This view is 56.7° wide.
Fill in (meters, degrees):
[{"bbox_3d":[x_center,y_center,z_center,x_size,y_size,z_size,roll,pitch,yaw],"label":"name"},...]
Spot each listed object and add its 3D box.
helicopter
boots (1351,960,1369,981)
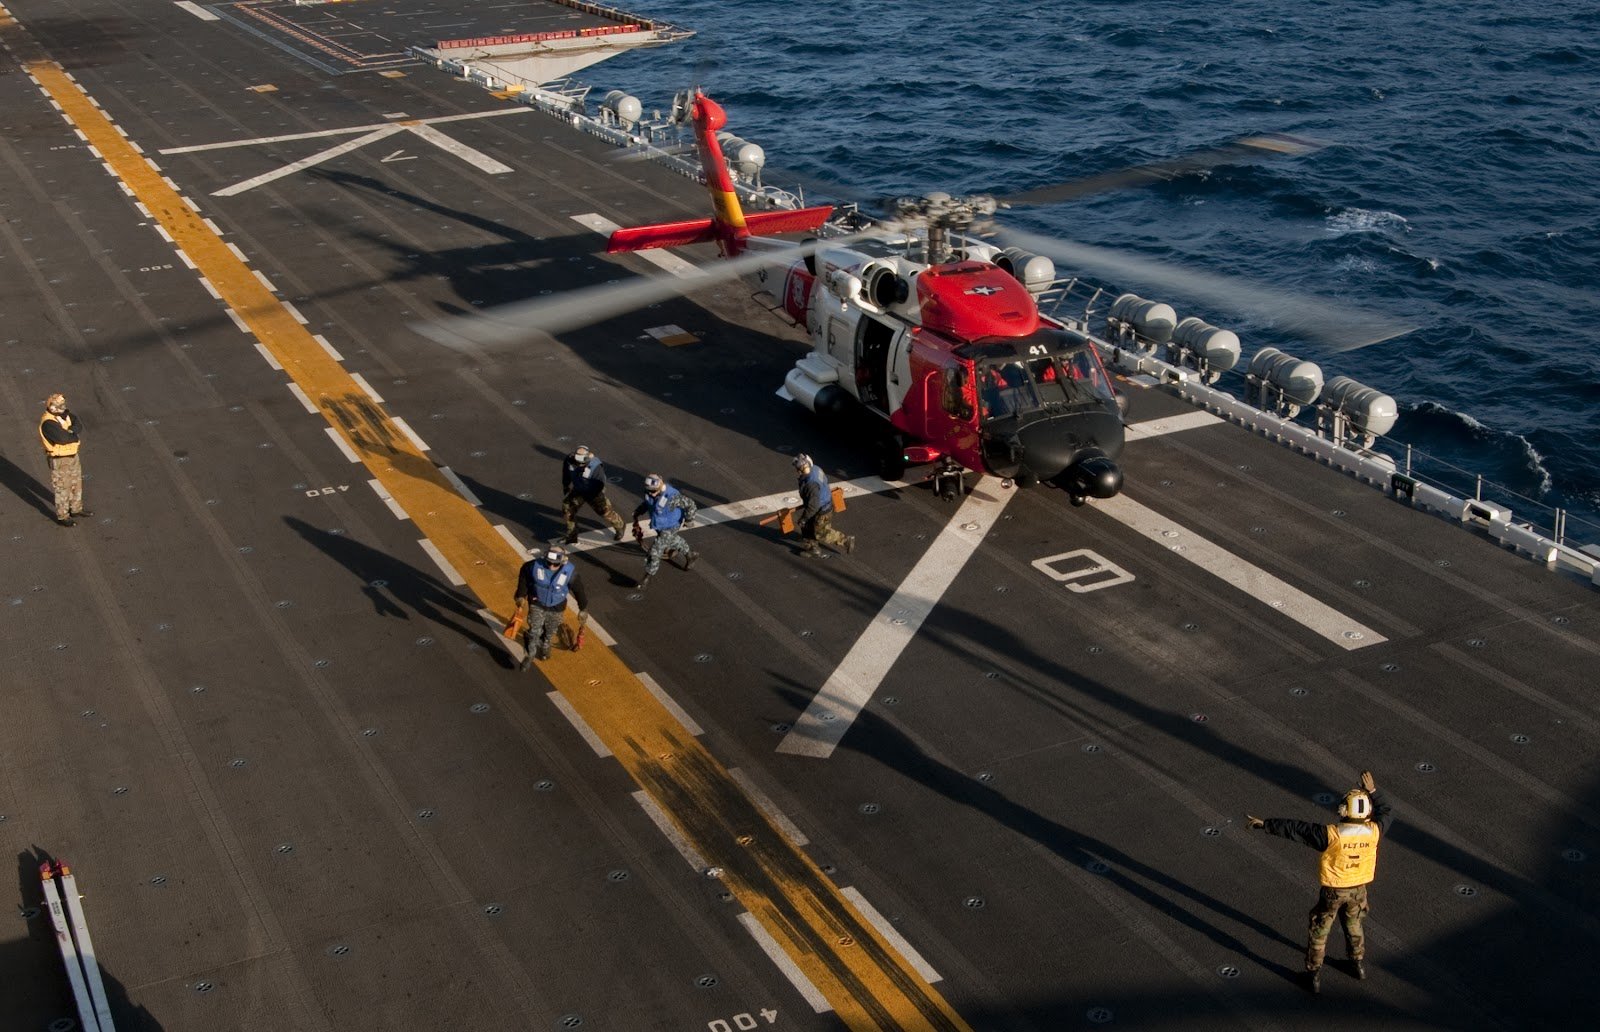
[{"bbox_3d":[1.727,-6.967,44.007,7.793,8.454,21.238,-15,33,-18],"label":"helicopter"},{"bbox_3d":[10.964,8.818,28.867,0.462,0.115,0.434,5,22,5],"label":"boots"}]
